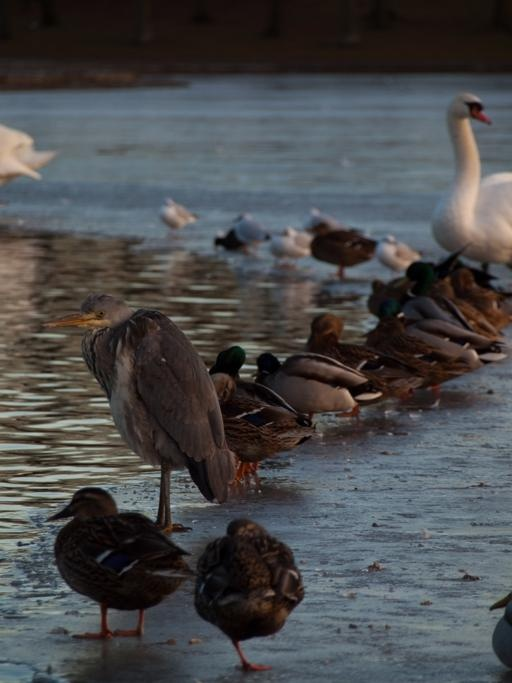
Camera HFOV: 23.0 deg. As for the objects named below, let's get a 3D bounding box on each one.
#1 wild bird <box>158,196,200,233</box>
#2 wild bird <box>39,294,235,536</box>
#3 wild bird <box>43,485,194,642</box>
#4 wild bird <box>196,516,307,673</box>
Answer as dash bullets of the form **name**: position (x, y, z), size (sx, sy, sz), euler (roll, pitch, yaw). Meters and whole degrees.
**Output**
- **wild bird**: position (-1.176, -1.856, 18.408), size (0.592, 0.391, 0.432), euler (15, 32, 39)
- **wild bird**: position (-0.624, 0.434, 7.123), size (1.182, 1.202, 0.667), euler (16, -20, -29)
- **wild bird**: position (-0.531, 0.943, 5.472), size (0.853, 0.589, 0.487), euler (-9, -15, 43)
- **wild bird**: position (-0.030, 0.998, 5.041), size (0.434, 0.623, 0.251), euler (-2, 16, 1)
